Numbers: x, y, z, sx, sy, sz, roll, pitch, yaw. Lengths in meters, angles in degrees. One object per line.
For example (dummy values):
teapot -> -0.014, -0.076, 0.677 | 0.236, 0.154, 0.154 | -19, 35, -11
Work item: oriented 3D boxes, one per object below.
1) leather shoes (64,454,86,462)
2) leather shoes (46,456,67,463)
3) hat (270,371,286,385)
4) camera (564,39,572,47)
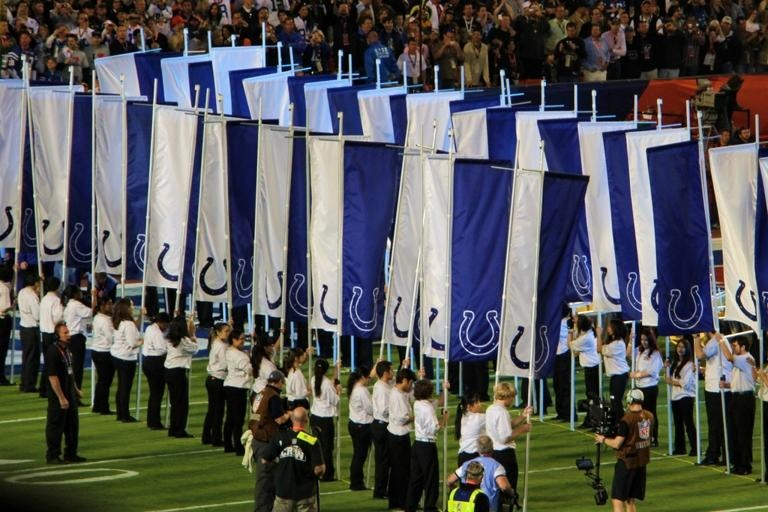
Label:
leather shoes -> -6.448, 4.165, 30.555 | 0.501, 0.228, 0.178 | -1, 6, -14
leather shoes -> -6.843, 4.224, 30.412 | 0.294, 0.135, 0.179 | -3, 2, 11
hat -> -2.070, 2.330, 28.172 | 0.267, 0.218, 0.458 | 18, -7, 13
camera -> 5.111, -6.021, 40.972 | 0.149, 0.166, 0.056 | -1, -32, 6
